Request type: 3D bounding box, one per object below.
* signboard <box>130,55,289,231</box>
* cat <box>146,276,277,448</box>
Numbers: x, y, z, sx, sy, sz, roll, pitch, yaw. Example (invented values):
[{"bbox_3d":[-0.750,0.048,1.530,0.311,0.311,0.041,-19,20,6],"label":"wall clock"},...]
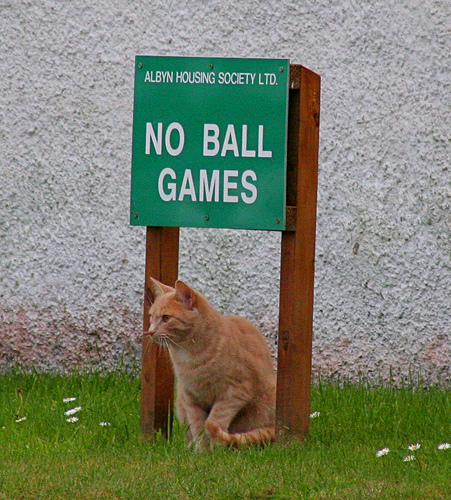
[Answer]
[{"bbox_3d":[-0.089,-0.520,5.375,0.778,0.077,1.027,1,63,0],"label":"signboard"},{"bbox_3d":[-0.065,0.576,5.420,0.634,0.403,0.822,0,86,-1],"label":"cat"}]
